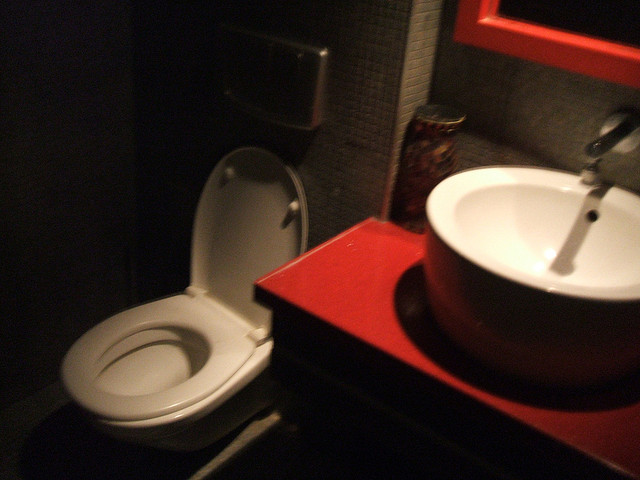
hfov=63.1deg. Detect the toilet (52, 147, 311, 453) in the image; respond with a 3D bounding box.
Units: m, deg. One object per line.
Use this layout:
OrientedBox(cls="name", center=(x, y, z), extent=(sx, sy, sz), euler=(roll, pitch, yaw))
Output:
OrientedBox(cls="toilet", center=(-0.360, 0.163, 1.479), extent=(0.519, 0.689, 0.702), euler=(30, 42, 23))
